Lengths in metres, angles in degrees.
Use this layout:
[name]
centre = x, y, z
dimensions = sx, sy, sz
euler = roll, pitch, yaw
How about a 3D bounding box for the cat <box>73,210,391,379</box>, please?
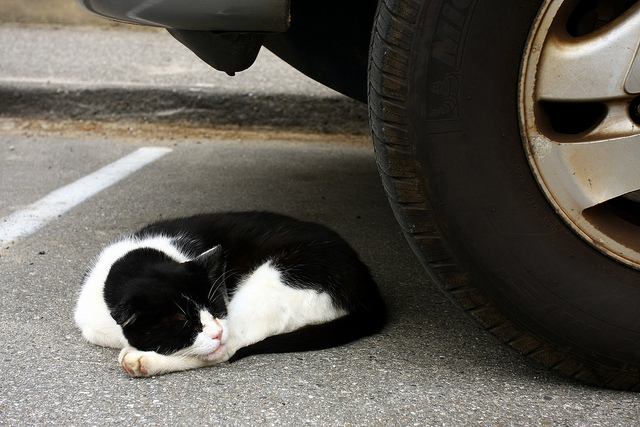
[cat]
centre = -0.333, 0.184, 2.336
dimensions = 0.835, 0.653, 0.294
euler = -3, 103, -35
